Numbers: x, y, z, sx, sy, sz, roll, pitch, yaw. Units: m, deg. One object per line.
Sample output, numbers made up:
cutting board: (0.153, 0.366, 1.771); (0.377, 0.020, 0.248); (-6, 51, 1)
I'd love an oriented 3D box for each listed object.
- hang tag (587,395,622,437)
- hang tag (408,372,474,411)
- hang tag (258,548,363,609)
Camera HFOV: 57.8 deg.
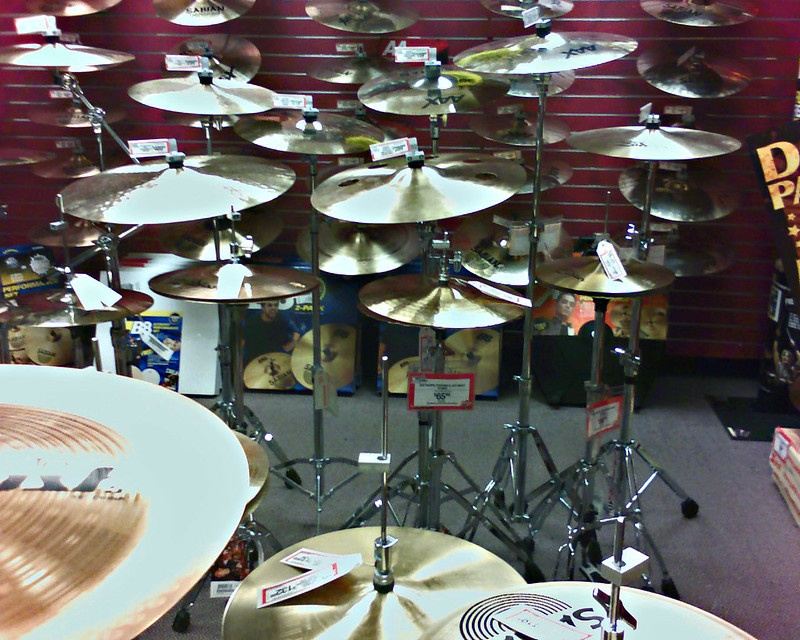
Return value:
hang tag: (0.712, 0.326, 2.515); (0.011, 0.105, 0.210); (16, 24, 42)
hang tag: (0.134, 0.228, 2.358); (0.181, 0.076, 0.006); (0, 7, -3)
hang tag: (-0.213, 0.586, 1.644); (0.174, 0.034, 0.120); (2, 6, -37)
